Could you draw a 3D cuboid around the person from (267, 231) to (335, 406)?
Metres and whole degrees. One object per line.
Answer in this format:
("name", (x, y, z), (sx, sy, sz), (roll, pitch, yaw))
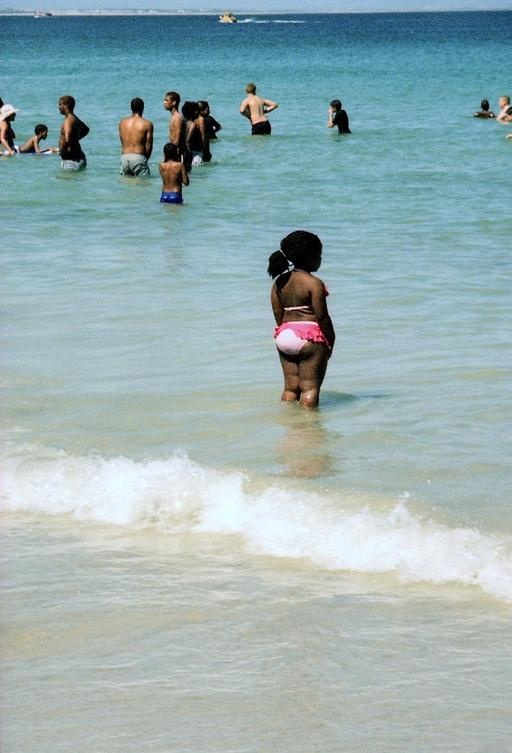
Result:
("person", (0.276, -0.337, 8.706), (0.385, 1.116, 0.608), (1, 5, 1))

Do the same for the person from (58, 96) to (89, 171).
("person", (-2.608, -3.489, 20.037), (0.409, 1.026, 1.356), (0, 5, -7))
